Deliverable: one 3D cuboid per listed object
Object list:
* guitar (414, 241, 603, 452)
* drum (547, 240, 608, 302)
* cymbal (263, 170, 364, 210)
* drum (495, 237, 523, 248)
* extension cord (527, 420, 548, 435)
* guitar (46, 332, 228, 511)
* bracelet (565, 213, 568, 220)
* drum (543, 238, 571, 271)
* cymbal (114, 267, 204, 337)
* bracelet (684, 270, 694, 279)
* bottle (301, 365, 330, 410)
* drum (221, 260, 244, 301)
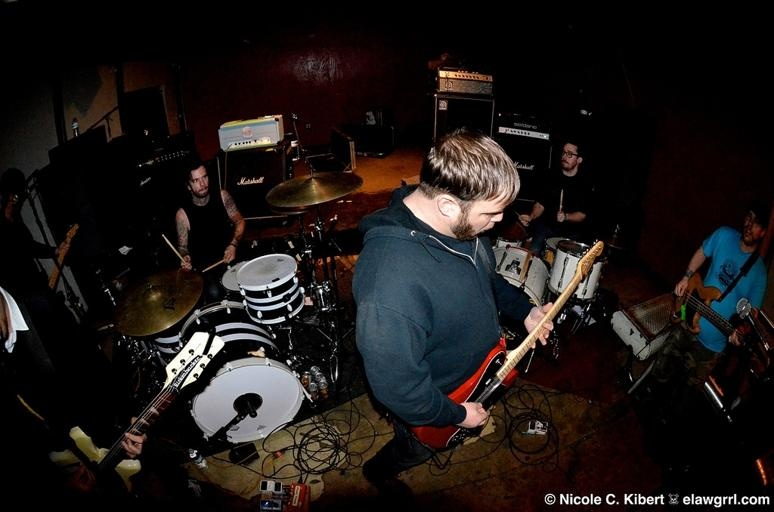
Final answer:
[{"bbox_3d":[1.368,1.072,5.938,0.351,1.081,3.232,27,72,44],"label":"guitar"},{"bbox_3d":[2.491,0.117,7.111,0.857,0.770,0.806,3,52,4],"label":"drum"},{"bbox_3d":[-0.914,-0.810,6.972,1.226,0.140,1.191,-3,-1,-23],"label":"cymbal"},{"bbox_3d":[1.756,-0.199,7.508,0.194,0.161,0.184,-2,6,-21],"label":"drum"},{"bbox_3d":[1.895,2.153,6.593,0.190,0.049,0.182,6,41,15],"label":"extension cord"},{"bbox_3d":[-2.952,2.018,6.192,0.900,2.475,0.284,38,-8,-5],"label":"guitar"},{"bbox_3d":[2.802,-0.636,8.173,0.023,0.071,0.074,-11,-7,-5],"label":"bracelet"},{"bbox_3d":[2.419,-0.037,7.721,0.437,0.396,0.420,1,11,3],"label":"drum"},{"bbox_3d":[-2.862,0.614,6.567,0.856,0.206,0.820,-24,53,-22],"label":"cymbal"},{"bbox_3d":[3.931,0.225,6.809,0.055,0.053,0.148,33,22,-10],"label":"bracelet"},{"bbox_3d":[-0.947,1.698,6.901,0.501,0.178,0.383,44,44,-9],"label":"bottle"},{"bbox_3d":[-2.120,0.346,7.186,0.378,0.373,0.362,13,42,5],"label":"drum"}]
